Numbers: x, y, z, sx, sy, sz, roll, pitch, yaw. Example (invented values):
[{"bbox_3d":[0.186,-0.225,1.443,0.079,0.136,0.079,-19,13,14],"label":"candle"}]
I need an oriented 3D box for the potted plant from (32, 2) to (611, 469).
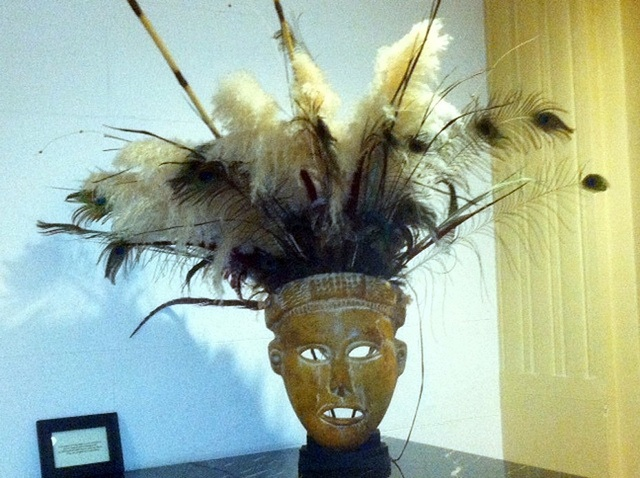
[{"bbox_3d":[0.011,-0.035,2.874,1.201,1.380,1.283,-2,-10,-2],"label":"potted plant"}]
